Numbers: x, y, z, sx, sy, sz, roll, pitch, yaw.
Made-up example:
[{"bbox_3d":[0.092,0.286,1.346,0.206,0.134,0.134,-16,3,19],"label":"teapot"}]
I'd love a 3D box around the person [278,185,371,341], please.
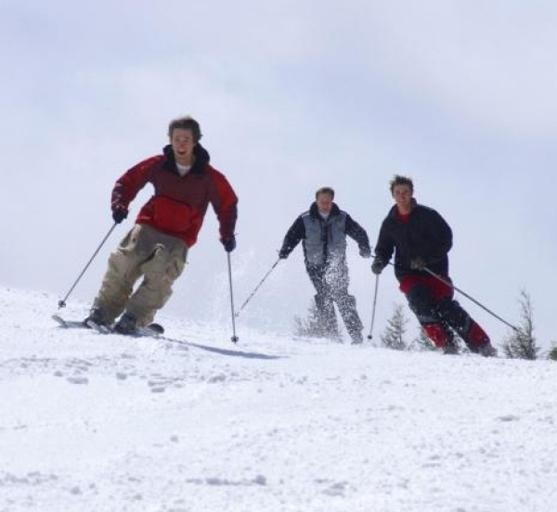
[{"bbox_3d":[0.490,0.068,8.857,1.013,2.089,0.673,-6,-12,3],"label":"person"}]

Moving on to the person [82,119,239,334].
[{"bbox_3d":[-0.967,-0.224,7.535,1.008,2.114,0.609,22,23,-8],"label":"person"}]

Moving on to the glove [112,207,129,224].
[{"bbox_3d":[-1.284,-0.304,7.179,0.121,0.148,0.354,-3,13,-8],"label":"glove"}]

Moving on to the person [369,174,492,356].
[{"bbox_3d":[1.333,0.084,7.773,0.405,1.543,1.256,-9,14,-38],"label":"person"}]

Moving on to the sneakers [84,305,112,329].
[{"bbox_3d":[-1.472,0.499,7.209,0.117,0.202,0.188,-1,-17,3],"label":"sneakers"}]
